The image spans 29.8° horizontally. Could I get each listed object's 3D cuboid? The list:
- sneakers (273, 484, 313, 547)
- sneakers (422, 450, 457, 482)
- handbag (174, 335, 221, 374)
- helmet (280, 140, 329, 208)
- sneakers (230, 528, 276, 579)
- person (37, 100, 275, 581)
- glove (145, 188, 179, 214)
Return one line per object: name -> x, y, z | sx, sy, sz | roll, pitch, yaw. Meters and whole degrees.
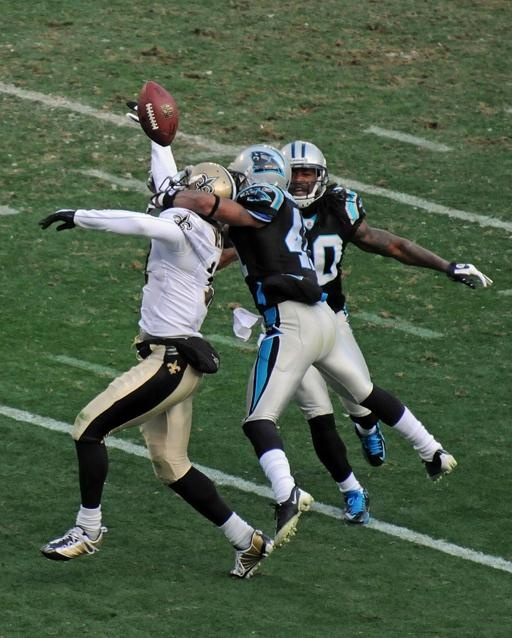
sneakers -> 0.143, 0.856, 4.152 | 0.138, 0.271, 0.242 | 14, 28, 12
sneakers -> 0.927, 0.750, 4.902 | 0.130, 0.105, 0.249 | -34, -10, 2
handbag -> -0.249, 0.153, 4.230 | 0.066, 0.207, 0.133 | -42, 21, 29
helmet -> 0.260, -0.760, 4.980 | 0.372, 0.304, 0.379 | 0, 11, 3
sneakers -> -0.055, 1.072, 4.382 | 0.196, 0.279, 0.107 | 21, 23, -13
person -> -0.435, 0.334, 4.247 | 1.021, 1.608, 0.877 | 1, 29, -11
glove -> -0.427, -0.527, 4.463 | 0.093, 0.080, 0.250 | 13, -22, -37
